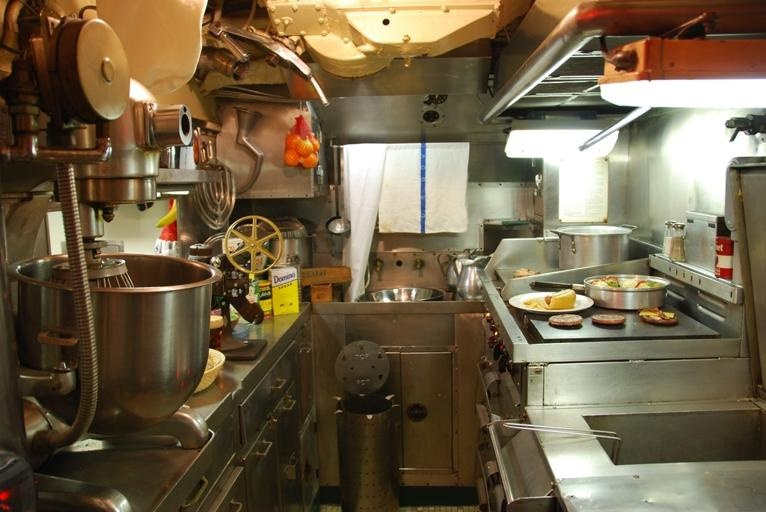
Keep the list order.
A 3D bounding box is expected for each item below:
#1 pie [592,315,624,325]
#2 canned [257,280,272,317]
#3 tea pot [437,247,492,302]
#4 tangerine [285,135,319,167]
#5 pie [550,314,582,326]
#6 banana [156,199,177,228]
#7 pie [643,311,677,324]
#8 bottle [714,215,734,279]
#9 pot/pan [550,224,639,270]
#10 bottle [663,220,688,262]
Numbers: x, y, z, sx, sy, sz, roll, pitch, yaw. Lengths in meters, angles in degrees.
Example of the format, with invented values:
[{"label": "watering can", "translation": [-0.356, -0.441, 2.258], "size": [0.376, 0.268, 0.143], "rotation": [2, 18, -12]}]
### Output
[{"label": "pie", "translation": [0.932, 0.258, 2.476], "size": [0.120, 0.026, 0.190], "rotation": [1, 6, 19]}, {"label": "canned", "translation": [-0.632, 0.229, 3.197], "size": [0.067, 0.189, 0.087], "rotation": [0, 6, 6]}, {"label": "tea pot", "translation": [0.519, 0.123, 3.787], "size": [0.231, 0.224, 0.328], "rotation": [1, 2, -25]}, {"label": "tangerine", "translation": [-0.447, -0.594, 3.358], "size": [0.154, 0.092, 0.195], "rotation": [-6, 5, -11]}, {"label": "pie", "translation": [0.752, 0.264, 2.461], "size": [0.133, 0.034, 0.153], "rotation": [0, 6, 13]}, {"label": "banana", "translation": [-1.119, -0.225, 3.094], "size": [0.044, 0.159, 0.085], "rotation": [-15, -50, 44]}, {"label": "pie", "translation": [1.125, 0.255, 2.442], "size": [0.137, 0.034, 0.109], "rotation": [1, 6, 18]}, {"label": "bottle", "translation": [1.326, -0.031, 2.322], "size": [0.057, 0.240, 0.113], "rotation": [1, 6, 24]}, {"label": "pot/pan", "translation": [1.114, -0.047, 3.217], "size": [0.351, 0.205, 0.255], "rotation": [0, 3, 2]}, {"label": "bottle", "translation": [1.321, -0.067, 2.704], "size": [0.077, 0.177, 0.129], "rotation": [1, 6, 17]}]
